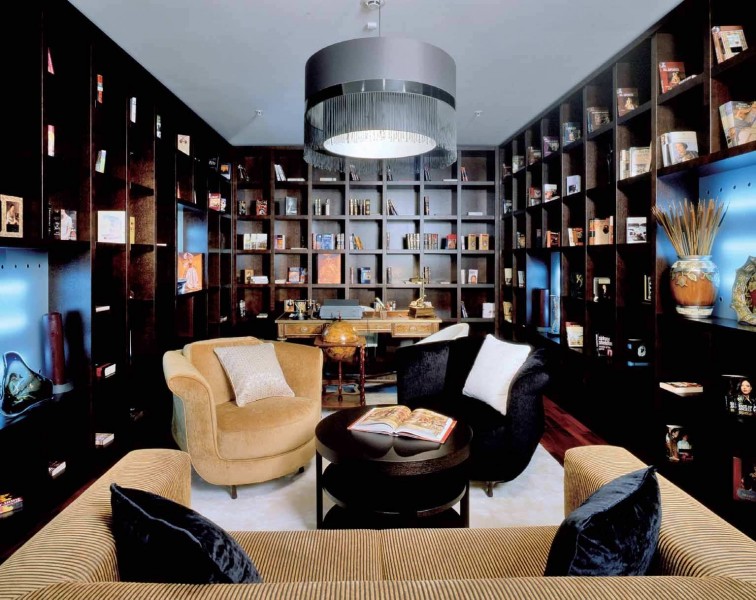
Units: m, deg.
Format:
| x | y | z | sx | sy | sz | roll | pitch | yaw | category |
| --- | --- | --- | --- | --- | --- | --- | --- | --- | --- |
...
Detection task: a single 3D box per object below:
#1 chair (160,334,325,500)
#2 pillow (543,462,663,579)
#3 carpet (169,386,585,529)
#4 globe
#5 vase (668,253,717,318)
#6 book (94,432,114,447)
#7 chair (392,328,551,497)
| x | y | z | sx | sy | sz | roll | pitch | yaw | category |
| --- | --- | --- | --- | --- | --- | --- | --- | --- | --- |
| -0.916 | 0.754 | 4.088 | 1.093 | 0.895 | 0.884 | -5 | 5 | -43 | chair |
| 0.867 | 0.853 | 2.256 | 0.298 | 0.496 | 0.601 | 6 | -19 | 16 | pillow |
| 0.221 | 1.121 | 4.178 | 1.568 | 0.390 | 1.546 | 0 | 4 | 3 | carpet |
| -0.309 | 0.570 | 5.006 | 0.387 | 0.649 | 0.399 | -2 | 2 | 12 | globe |
| 2.099 | -0.105 | 3.946 | 0.294 | 0.380 | 0.315 | -1 | 2 | 6 | vase |
| -1.947 | 0.988 | 4.239 | 0.120 | 0.100 | 0.126 | -5 | 5 | -25 | book |
| 0.672 | 0.818 | 4.185 | 1.062 | 1.024 | 0.896 | 3 | 0 | 38 | chair |
